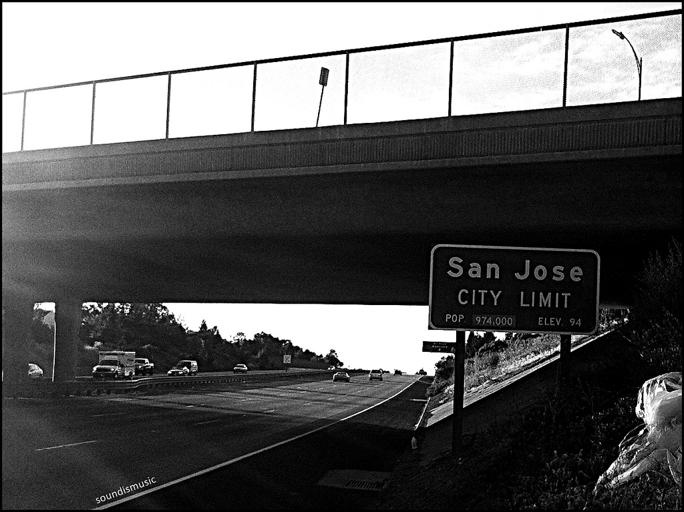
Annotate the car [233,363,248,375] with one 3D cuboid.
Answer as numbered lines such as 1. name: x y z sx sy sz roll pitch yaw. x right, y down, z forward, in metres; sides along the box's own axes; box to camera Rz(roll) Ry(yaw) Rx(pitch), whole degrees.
1. car: -16.886 18.714 109.331 1.650 1.416 3.973 -2 -14 -2

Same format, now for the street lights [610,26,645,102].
1. street lights: 7.490 -4.968 17.062 0.692 1.880 0.160 3 -8 -6

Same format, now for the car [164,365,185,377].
1. car: -22.420 15.431 87.866 2.106 1.287 3.786 3 0 -10

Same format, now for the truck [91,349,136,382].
1. truck: -22.741 10.926 65.546 3.690 2.889 3.795 6 -11 -23

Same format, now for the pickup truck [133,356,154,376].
1. pickup truck: -25.970 14.503 85.873 1.724 1.688 3.740 0 -11 0
